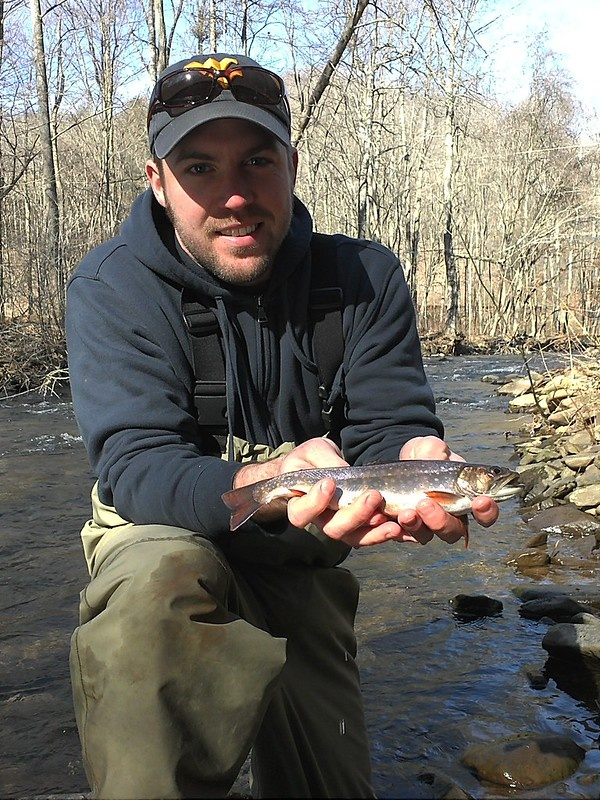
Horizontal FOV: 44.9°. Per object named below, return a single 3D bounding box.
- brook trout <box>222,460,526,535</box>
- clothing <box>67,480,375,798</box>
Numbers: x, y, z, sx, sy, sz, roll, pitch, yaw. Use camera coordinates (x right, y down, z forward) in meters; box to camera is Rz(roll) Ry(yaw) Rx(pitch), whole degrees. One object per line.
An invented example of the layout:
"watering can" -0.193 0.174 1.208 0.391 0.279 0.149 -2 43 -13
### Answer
"brook trout" 0.163 0.261 1.929 0.805 0.152 0.195 -2 31 -2
"clothing" -0.176 0.578 1.760 0.808 0.313 0.783 39 19 -36
